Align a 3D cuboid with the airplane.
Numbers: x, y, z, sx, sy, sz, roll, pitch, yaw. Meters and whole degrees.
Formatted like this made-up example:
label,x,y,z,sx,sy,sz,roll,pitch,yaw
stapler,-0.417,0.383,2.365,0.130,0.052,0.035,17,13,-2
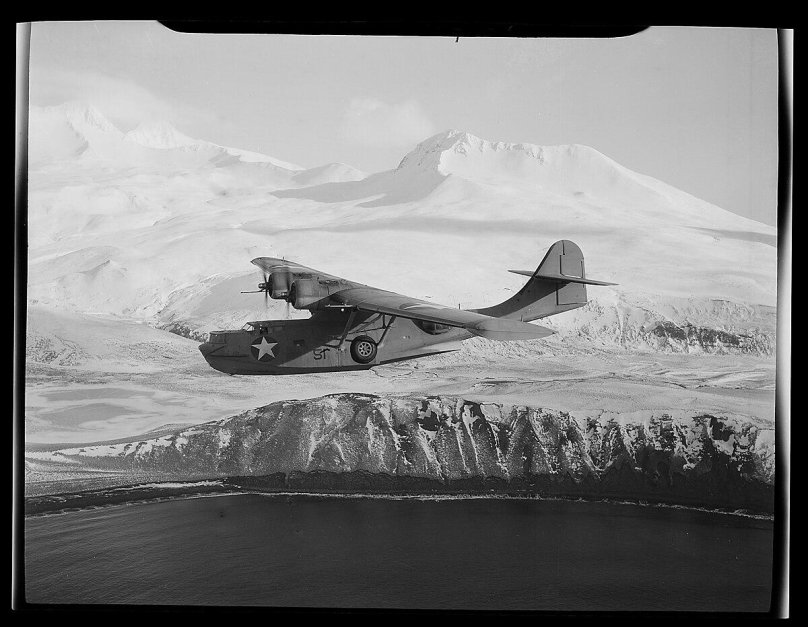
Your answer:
label,x,y,z,sx,sy,sz,roll,pitch,yaw
airplane,-0.045,-0.209,19.394,7.326,2.742,7.614,2,0,16
